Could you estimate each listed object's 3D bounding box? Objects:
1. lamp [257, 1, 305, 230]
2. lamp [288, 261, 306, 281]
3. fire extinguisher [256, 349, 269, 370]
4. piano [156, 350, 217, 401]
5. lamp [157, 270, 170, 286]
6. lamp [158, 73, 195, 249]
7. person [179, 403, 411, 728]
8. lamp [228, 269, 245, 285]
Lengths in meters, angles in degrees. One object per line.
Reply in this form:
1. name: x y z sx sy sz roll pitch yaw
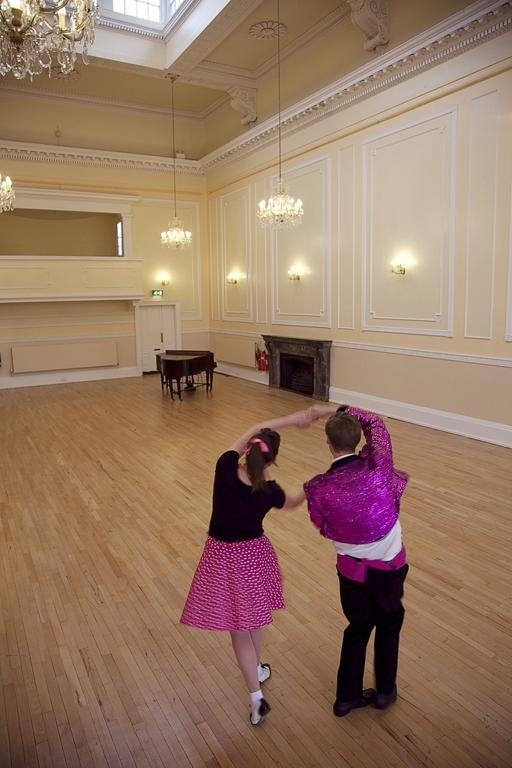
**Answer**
1. lamp: 0.452 -4.522 8.927 0.793 3.225 2.755 -1 7 5
2. lamp: 0.813 -2.229 9.657 0.156 0.374 0.639 -3 8 -18
3. fire extinguisher: 0.156 -0.569 11.171 0.242 0.445 0.376 -11 19 -34
4. piano: -1.456 -0.233 10.454 1.186 0.931 1.479 -6 8 -12
5. lamp: -2.517 -2.880 13.201 0.194 0.390 0.367 12 16 43
6. lamp: -1.903 -5.059 11.257 0.727 3.474 0.875 -9 31 -23
7. person: 0.219 0.737 1.838 0.874 1.316 0.415 -4 7 -20
8. lamp: -0.505 -2.673 12.219 0.148 0.403 0.970 -4 8 -22
